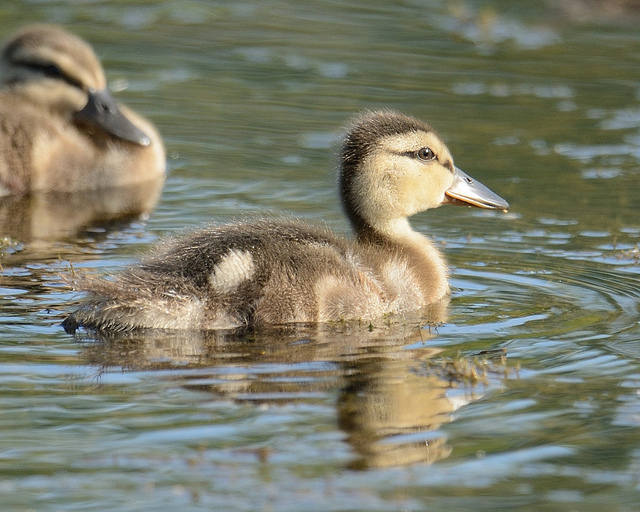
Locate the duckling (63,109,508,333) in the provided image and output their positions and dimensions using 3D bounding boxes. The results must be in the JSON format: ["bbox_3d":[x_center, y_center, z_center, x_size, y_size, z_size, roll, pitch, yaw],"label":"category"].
[{"bbox_3d":[-0.048,-0.150,7.036,1.547,1.352,3.390,32,39,34],"label":"duckling"}]
